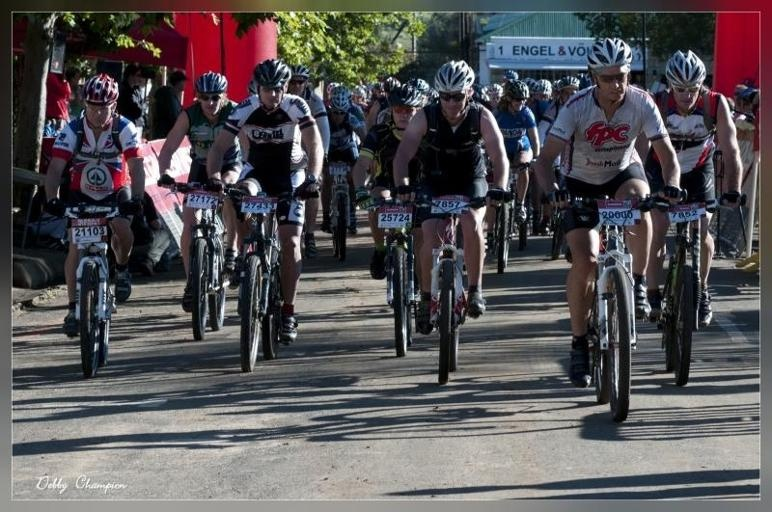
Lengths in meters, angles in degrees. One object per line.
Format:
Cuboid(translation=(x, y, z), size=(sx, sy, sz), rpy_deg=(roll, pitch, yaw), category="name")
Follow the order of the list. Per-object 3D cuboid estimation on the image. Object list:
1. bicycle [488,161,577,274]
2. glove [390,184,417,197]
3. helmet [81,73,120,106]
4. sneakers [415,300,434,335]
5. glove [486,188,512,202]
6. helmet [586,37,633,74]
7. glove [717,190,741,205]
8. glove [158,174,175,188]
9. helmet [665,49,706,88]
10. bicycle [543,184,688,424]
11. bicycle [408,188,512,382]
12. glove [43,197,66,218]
Cuboid(translation=(2.072, -0.399, 17.207), size=(1.040, 1.257, 2.145), rpy_deg=(0, 1, 14), category="bicycle")
Cuboid(translation=(0.171, -0.609, 11.123), size=(0.154, 0.057, 0.152), rpy_deg=(4, -12, -10), category="glove")
Cuboid(translation=(-2.827, -1.649, 11.668), size=(0.252, 0.238, 0.355), rpy_deg=(1, 21, -10), category="helmet")
Cuboid(translation=(0.374, 0.608, 11.283), size=(0.175, 0.312, 0.076), rpy_deg=(-9, -10, 36), category="sneakers")
Cuboid(translation=(1.023, -0.536, 10.554), size=(0.162, 0.075, 0.133), rpy_deg=(7, 3, -8), category="glove")
Cuboid(translation=(1.930, -1.739, 10.152), size=(0.277, 0.312, 0.346), rpy_deg=(4, 9, 3), category="helmet")
Cuboid(translation=(3.158, -0.524, 10.760), size=(0.166, 0.065, 0.124), rpy_deg=(-14, 21, -20), category="glove")
Cuboid(translation=(-2.222, -0.755, 11.950), size=(0.122, 0.109, 0.147), rpy_deg=(-1, -10, 2), category="glove")
Cuboid(translation=(2.843, -1.841, 11.168), size=(0.295, 0.240, 0.420), rpy_deg=(2, 45, 6), category="helmet")
Cuboid(translation=(1.905, 0.420, 10.055), size=(0.834, 1.930, 0.993), rpy_deg=(1, 12, 9), category="bicycle")
Cuboid(translation=(0.637, 0.277, 10.957), size=(0.704, 1.848, 1.004), rpy_deg=(-3, 12, -11), category="bicycle")
Cuboid(translation=(-3.185, -0.474, 11.289), size=(0.194, 0.207, 0.315), rpy_deg=(0, -12, -17), category="glove")
